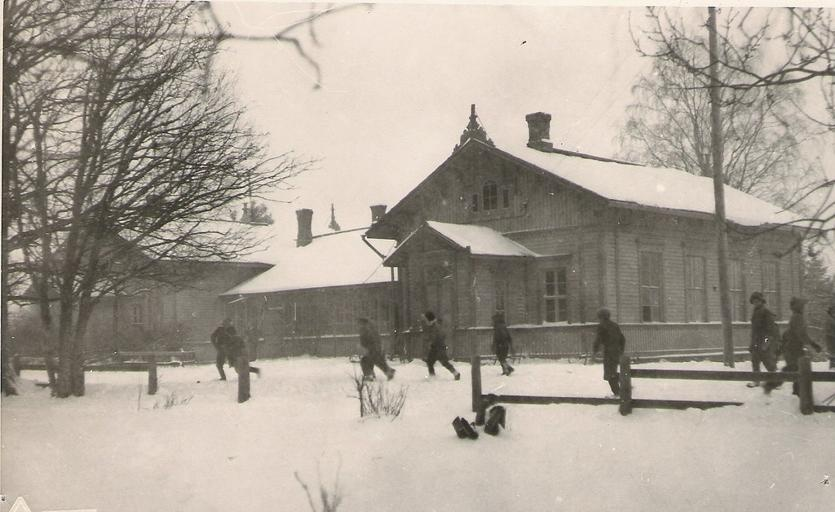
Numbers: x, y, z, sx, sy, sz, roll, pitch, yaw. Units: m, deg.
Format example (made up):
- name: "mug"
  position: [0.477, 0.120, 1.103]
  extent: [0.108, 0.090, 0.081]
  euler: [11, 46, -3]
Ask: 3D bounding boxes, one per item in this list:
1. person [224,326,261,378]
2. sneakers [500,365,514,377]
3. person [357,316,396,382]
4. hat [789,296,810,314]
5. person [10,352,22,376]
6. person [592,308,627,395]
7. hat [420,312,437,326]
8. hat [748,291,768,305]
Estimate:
- name: "person"
  position: [-4.327, 2.278, 23.715]
  extent: [1.050, 1.428, 2.477]
  euler: [0, -6, -15]
- name: "sneakers"
  position: [2.427, 3.077, 25.479]
  extent: [0.284, 0.120, 0.226]
  euler: [-3, 10, 45]
- name: "person"
  position: [-1.020, 2.352, 24.355]
  extent: [0.831, 1.606, 1.241]
  euler: [-1, -6, -4]
- name: "hat"
  position: [8.782, 1.124, 21.987]
  extent: [0.451, 0.448, 0.494]
  euler: [-3, 3, -44]
- name: "person"
  position: [-10.359, 2.789, 24.613]
  extent: [0.201, 0.538, 1.155]
  euler: [1, -7, -23]
- name: "person"
  position: [4.594, 2.248, 22.575]
  extent: [0.654, 2.003, 0.700]
  euler: [-3, -6, 17]
- name: "hat"
  position: [0.349, 1.708, 25.675]
  extent: [0.313, 0.382, 0.363]
  euler: [5, 6, 10]
- name: "hat"
  position: [8.155, 0.974, 22.712]
  extent: [0.394, 0.202, 0.496]
  euler: [4, -10, 12]
